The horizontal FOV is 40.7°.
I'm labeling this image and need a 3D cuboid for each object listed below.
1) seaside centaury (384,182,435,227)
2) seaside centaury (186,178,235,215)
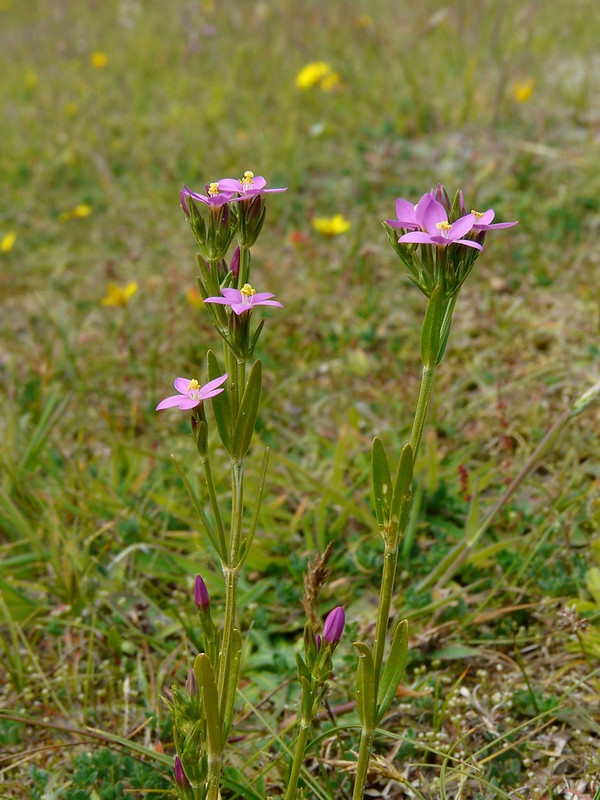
[{"bbox_3d":[0.191,-0.334,1.429,0.072,0.051,0.082,-23,30,-7],"label":"seaside centaury"},{"bbox_3d":[-0.165,-0.357,1.426,0.069,0.031,0.066,-8,23,-31],"label":"seaside centaury"}]
